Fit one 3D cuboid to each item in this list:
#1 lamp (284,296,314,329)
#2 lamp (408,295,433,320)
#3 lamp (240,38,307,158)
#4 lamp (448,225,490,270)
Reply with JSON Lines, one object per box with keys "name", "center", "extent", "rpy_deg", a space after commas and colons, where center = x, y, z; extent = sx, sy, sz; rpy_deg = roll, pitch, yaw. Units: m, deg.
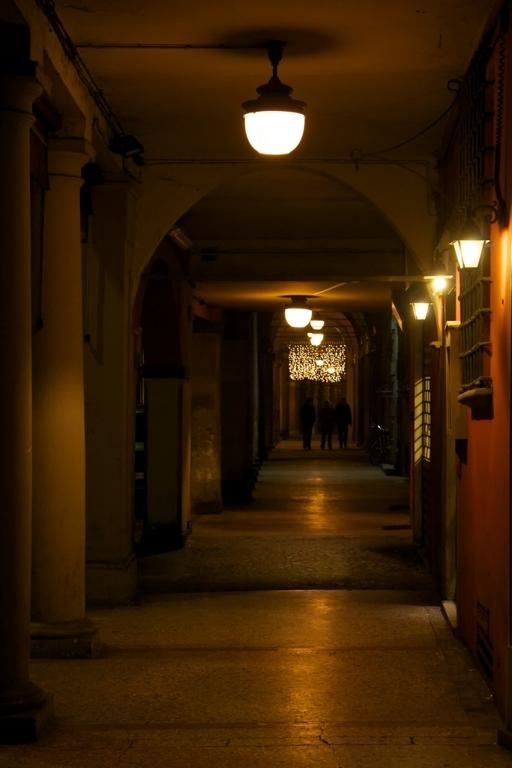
{"name": "lamp", "center": [0.753, -1.277, 13.036], "extent": [0.472, 0.702, 0.510], "rpy_deg": [-1, 6, -21]}
{"name": "lamp", "center": [1.841, -0.845, 8.092], "extent": [0.182, 0.313, 0.235], "rpy_deg": [0, 2, 3]}
{"name": "lamp", "center": [0.102, -1.548, 3.991], "extent": [0.307, 0.657, 0.324], "rpy_deg": [-6, 10, -34]}
{"name": "lamp", "center": [1.094, -0.679, 3.727], "extent": [0.160, 0.193, 0.241], "rpy_deg": [-1, -6, 15]}
